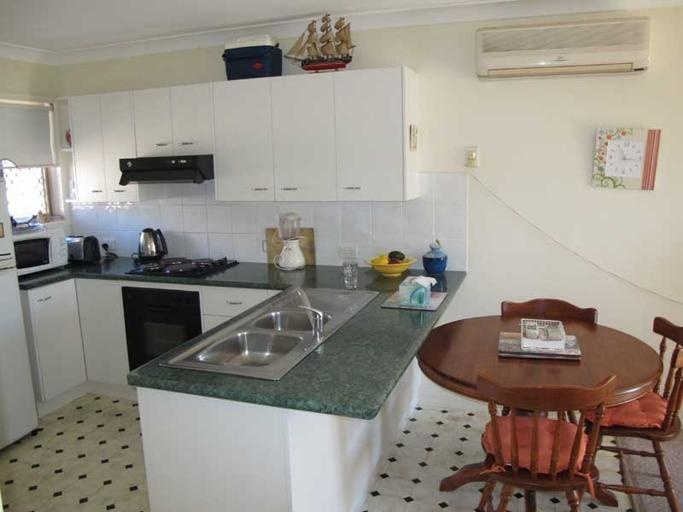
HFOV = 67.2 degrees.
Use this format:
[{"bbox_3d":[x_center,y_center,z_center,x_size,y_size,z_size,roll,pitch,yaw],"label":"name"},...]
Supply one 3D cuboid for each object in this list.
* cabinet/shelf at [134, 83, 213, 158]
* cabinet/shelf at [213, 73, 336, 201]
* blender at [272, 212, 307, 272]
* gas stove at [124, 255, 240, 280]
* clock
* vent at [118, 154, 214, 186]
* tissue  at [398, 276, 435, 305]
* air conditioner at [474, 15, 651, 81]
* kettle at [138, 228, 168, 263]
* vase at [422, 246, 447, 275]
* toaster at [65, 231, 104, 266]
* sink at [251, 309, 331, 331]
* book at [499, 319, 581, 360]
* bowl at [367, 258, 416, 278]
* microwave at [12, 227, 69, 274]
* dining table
[{"bbox_3d":[-1.326,-1.075,4.106,0.647,0.543,0.210,2,10,12],"label":"cabinet/shelf"},{"bbox_3d":[-0.473,-0.914,3.871,0.982,0.878,0.355,1,11,12],"label":"cabinet/shelf"},{"bbox_3d":[-0.436,-0.119,4.227,0.257,0.452,0.251,-2,11,-2],"label":"blender"},{"bbox_3d":[-1.340,0.084,4.284,0.822,0.058,0.666,1,11,14],"label":"gas stove"},{"bbox_3d":[1.969,-0.680,3.543,0.436,0.430,0.039,4,10,19],"label":"clock"},{"bbox_3d":[-1.427,-0.687,4.101,0.780,0.222,0.293,3,12,24],"label":"vent"},{"bbox_3d":[0.454,0.216,3.210,0.191,0.116,0.187,2,9,14],"label":"tissue "},{"bbox_3d":[1.463,-1.398,3.468,1.080,0.329,0.103,1,12,14],"label":"air conditioner"},{"bbox_3d":[-1.617,-0.081,4.401,0.199,0.285,0.292,3,1,33],"label":"kettle"},{"bbox_3d":[0.665,0.027,3.906,0.204,0.247,0.215,-2,9,-2],"label":"vase"},{"bbox_3d":[-2.278,-0.046,4.543,0.255,0.233,0.176,-7,12,-28],"label":"toaster"},{"bbox_3d":[-0.347,0.357,3.064,0.211,0.088,0.252,4,9,16],"label":"sink"},{"bbox_3d":[1.072,0.478,2.798,0.273,0.072,0.271,-1,8,13],"label":"book"},{"bbox_3d":[0.381,0.075,3.968,0.325,0.145,0.319,-1,10,0],"label":"bowl"},{"bbox_3d":[-2.535,-0.028,4.211,0.332,0.326,0.515,3,9,16],"label":"microwave"},{"bbox_3d":[1.035,0.544,2.951,1.179,0.775,1.124,-2,9,-2],"label":"dining table"}]
